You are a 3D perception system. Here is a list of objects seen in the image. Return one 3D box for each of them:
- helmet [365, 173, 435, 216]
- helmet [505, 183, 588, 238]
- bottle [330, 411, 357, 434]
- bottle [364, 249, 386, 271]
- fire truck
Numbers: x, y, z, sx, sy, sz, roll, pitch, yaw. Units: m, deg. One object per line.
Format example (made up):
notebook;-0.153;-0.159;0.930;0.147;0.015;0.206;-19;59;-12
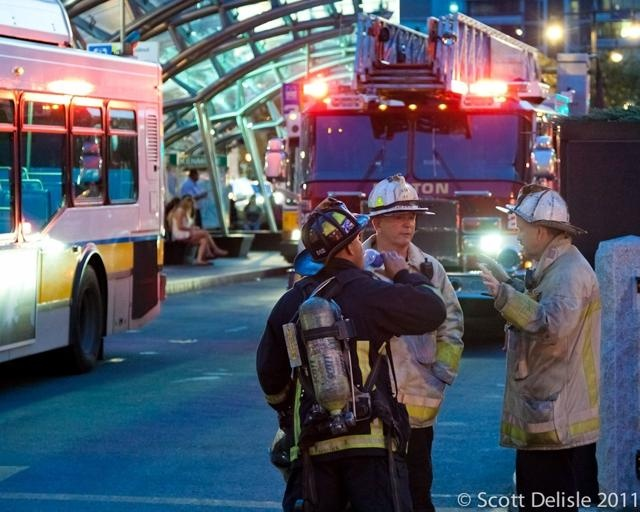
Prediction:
helmet;0.431;-0.353;4.135;0.363;0.255;0.504;-2;-4;-21
helmet;1.236;-0.278;3.924;0.498;0.222;0.364;12;9;25
bottle;0.085;0.610;2.612;0.081;0.059;0.084;-2;-4;0
bottle;0.262;0.019;3.459;0.111;0.091;0.164;-8;25;9
fire truck;2.371;-2.359;14.692;4.139;5.135;8.908;1;13;15
